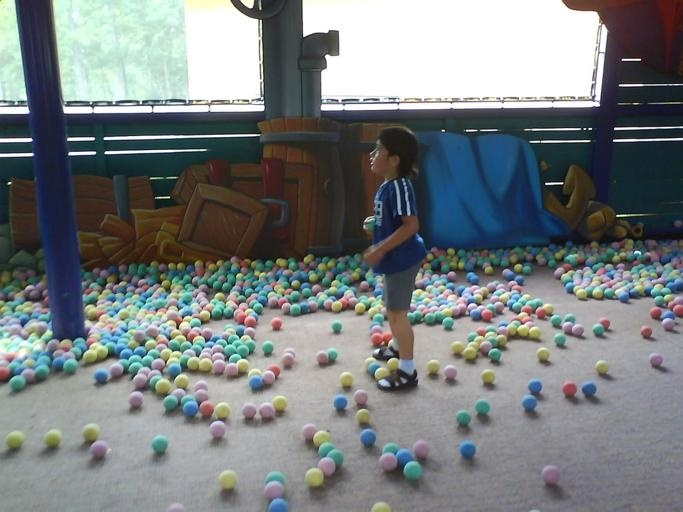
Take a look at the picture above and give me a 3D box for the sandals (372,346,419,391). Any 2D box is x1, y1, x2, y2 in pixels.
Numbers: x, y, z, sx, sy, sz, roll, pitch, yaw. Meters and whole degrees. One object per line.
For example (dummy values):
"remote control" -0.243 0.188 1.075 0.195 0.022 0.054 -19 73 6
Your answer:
"sandals" 0.382 0.748 3.549 0.181 0.098 0.301 1 16 -5
